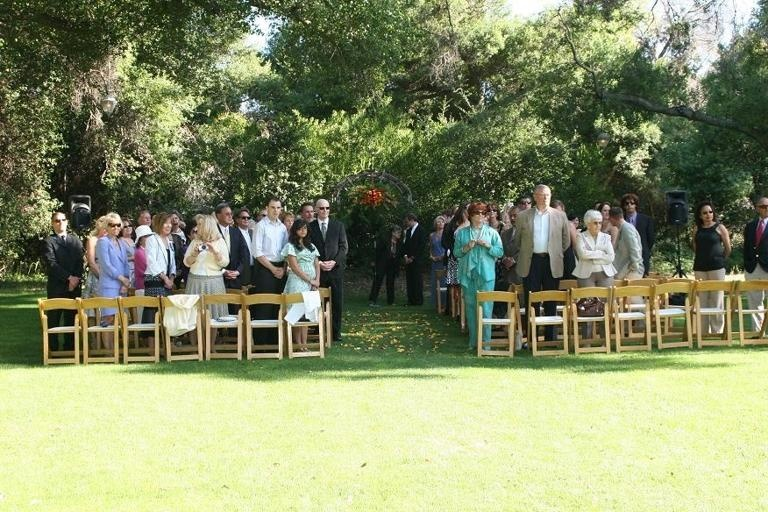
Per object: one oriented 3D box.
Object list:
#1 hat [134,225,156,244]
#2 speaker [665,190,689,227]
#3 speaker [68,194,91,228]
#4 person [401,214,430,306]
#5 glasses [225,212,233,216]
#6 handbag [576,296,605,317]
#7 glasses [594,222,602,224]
[{"bbox_3d":[-4.613,-0.420,17.617,0.338,0.200,0.379,-9,-4,-41],"label":"hat"},{"bbox_3d":[7.973,-1.253,24.495,0.543,0.923,0.678,-6,-17,36],"label":"speaker"},{"bbox_3d":[-8.011,-1.212,24.235,0.531,0.865,0.637,-7,17,-16],"label":"speaker"},{"bbox_3d":[0.786,0.118,23.403,0.632,2.280,1.330,-1,-6,1],"label":"person"},{"bbox_3d":[-2.945,-0.811,17.458,0.073,0.043,0.093,-2,-14,-26],"label":"glasses"},{"bbox_3d":[3.822,0.931,16.719,0.514,0.349,0.241,0,-6,-12],"label":"handbag"},{"bbox_3d":[3.988,-0.612,16.892,0.040,0.047,0.146,-6,-7,39],"label":"glasses"}]
